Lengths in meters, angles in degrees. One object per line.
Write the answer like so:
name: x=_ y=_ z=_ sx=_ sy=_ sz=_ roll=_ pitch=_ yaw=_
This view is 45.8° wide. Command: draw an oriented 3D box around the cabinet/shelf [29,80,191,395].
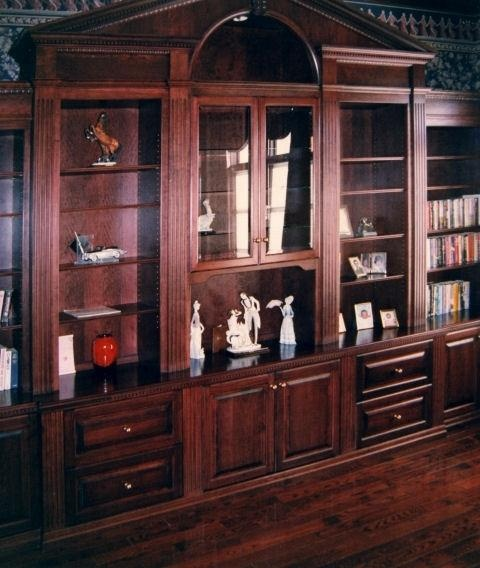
cabinet/shelf: x=-0.685 y=-0.263 z=3.000 sx=0.836 sy=1.518 sz=0.481 roll=-2 pitch=7 yaw=-21

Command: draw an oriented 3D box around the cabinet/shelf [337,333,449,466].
cabinet/shelf: x=1.130 y=0.821 z=3.809 sx=0.386 sy=0.699 sz=0.819 roll=35 pitch=-41 yaw=-30

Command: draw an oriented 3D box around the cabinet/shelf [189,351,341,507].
cabinet/shelf: x=0.140 y=0.775 z=3.406 sx=1.057 sy=0.654 sz=0.314 roll=-3 pitch=3 yaw=-34

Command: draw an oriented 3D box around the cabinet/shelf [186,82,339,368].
cabinet/shelf: x=0.085 y=-0.357 z=3.461 sx=1.021 sy=1.502 sz=0.408 roll=-4 pitch=8 yaw=-29

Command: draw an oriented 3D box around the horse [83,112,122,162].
horse: x=-0.729 y=-0.770 z=3.000 sx=0.188 sy=0.296 sz=0.303 roll=-1 pitch=7 yaw=-12

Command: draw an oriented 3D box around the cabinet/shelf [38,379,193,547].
cabinet/shelf: x=-0.646 y=0.863 z=3.000 sx=0.788 sy=0.654 sz=0.390 roll=-5 pitch=10 yaw=-27

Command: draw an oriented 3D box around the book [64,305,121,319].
book: x=-0.793 y=0.151 z=3.028 sx=0.300 sy=0.021 sz=0.301 roll=-4 pitch=9 yaw=-27
